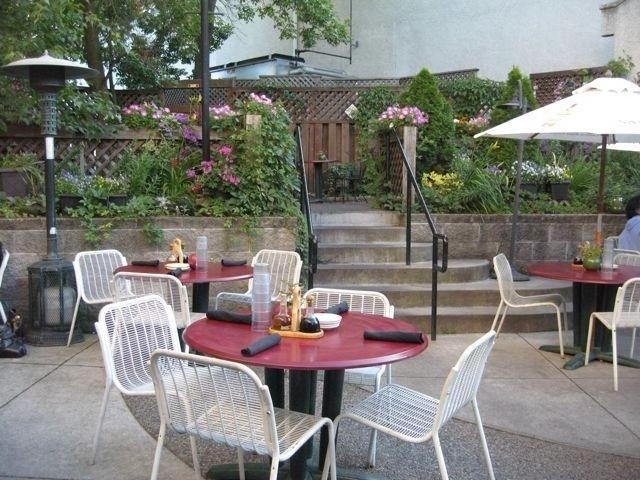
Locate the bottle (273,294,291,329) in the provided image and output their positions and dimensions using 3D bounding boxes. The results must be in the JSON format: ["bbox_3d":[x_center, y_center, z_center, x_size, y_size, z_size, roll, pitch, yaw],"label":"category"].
[{"bbox_3d":[-0.254,0.448,3.882,0.109,0.220,0.136,-3,5,-4],"label":"bottle"}]

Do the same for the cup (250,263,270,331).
[{"bbox_3d":[-0.382,0.359,3.844,0.131,0.445,0.263,-3,5,-7],"label":"cup"}]

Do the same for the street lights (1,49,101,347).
[{"bbox_3d":[-2.789,-0.424,6.345,0.753,2.989,0.464,-5,6,-24],"label":"street lights"}]

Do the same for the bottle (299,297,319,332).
[{"bbox_3d":[-0.074,0.472,3.854,0.147,0.257,0.150,1,4,0],"label":"bottle"}]

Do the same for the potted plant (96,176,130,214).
[{"bbox_3d":[-2.455,-0.543,7.167,0.321,0.232,0.498,1,9,-7],"label":"potted plant"}]

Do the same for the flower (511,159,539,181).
[{"bbox_3d":[3.116,-1.027,9.204,0.360,0.249,0.386,-1,25,-1],"label":"flower"}]

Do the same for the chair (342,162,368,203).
[{"bbox_3d":[0.618,-1.146,12.047,0.650,1.087,0.726,1,1,5],"label":"chair"}]

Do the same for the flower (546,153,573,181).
[{"bbox_3d":[3.575,-1.060,9.227,0.332,0.307,0.530,-1,31,-5],"label":"flower"}]

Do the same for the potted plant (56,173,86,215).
[{"bbox_3d":[-2.917,-0.560,7.121,0.338,0.238,0.541,0,28,-11],"label":"potted plant"}]

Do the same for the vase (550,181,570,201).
[{"bbox_3d":[3.498,-0.719,8.897,0.279,0.296,0.238,0,4,3],"label":"vase"}]
